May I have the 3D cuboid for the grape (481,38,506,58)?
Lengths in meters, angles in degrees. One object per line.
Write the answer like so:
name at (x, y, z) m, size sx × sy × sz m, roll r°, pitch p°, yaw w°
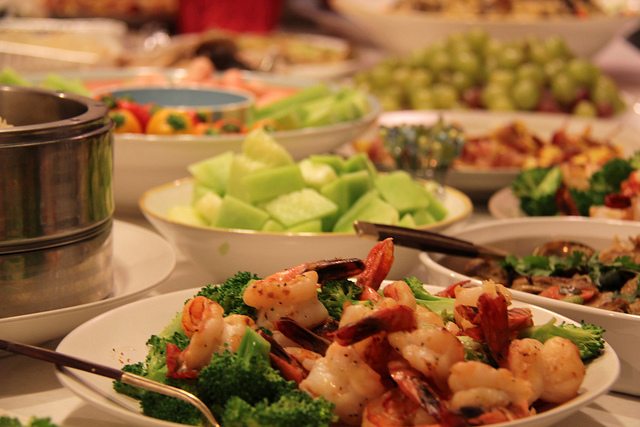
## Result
grape at (0.591, -0.568, 1.829) m, size 0.067 × 0.059 × 0.064 m, roll -3°, pitch 23°, yaw 0°

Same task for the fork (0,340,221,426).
fork at (-0.348, 0.294, 0.921) m, size 0.561 × 0.066 × 0.059 m, roll 9°, pitch 60°, yaw 25°

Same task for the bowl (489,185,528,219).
bowl at (0.633, -0.044, 1.866) m, size 0.211 × 0.090 × 0.116 m, roll -12°, pitch 14°, yaw -40°

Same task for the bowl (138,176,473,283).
bowl at (-0.174, -0.048, 1.645) m, size 1.076 × 0.262 × 0.660 m, roll -8°, pitch 15°, yaw -28°

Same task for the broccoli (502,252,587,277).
broccoli at (0.561, 0.130, 1.343) m, size 0.134 × 0.025 × 0.090 m, roll -6°, pitch 0°, yaw 2°

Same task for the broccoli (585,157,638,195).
broccoli at (0.972, -0.114, 1.802) m, size 0.059 × 0.133 × 0.125 m, roll 45°, pitch 55°, yaw 1°

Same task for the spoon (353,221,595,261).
spoon at (0.357, 0.079, 1.283) m, size 0.562 × 0.046 × 0.187 m, roll 10°, pitch 14°, yaw 41°

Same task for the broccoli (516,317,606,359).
broccoli at (0.446, 0.222, 1.001) m, size 0.139 × 0.053 × 0.102 m, roll 2°, pitch 11°, yaw 20°

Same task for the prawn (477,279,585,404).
prawn at (0.361, 0.235, 0.943) m, size 0.141 × 0.057 × 0.235 m, roll -36°, pitch 42°, yaw -30°

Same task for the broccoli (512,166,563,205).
broccoli at (0.742, -0.101, 1.813) m, size 0.138 × 0.068 × 0.134 m, roll -35°, pitch 46°, yaw -8°

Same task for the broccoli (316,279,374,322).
broccoli at (0.049, 0.142, 0.975) m, size 0.087 × 0.036 × 0.082 m, roll -10°, pitch 38°, yaw -12°

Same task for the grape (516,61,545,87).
grape at (0.734, -0.493, 1.862) m, size 0.083 × 0.045 × 0.081 m, roll 22°, pitch 43°, yaw 11°

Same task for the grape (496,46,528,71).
grape at (0.625, -0.520, 1.756) m, size 0.070 × 0.038 × 0.068 m, roll -32°, pitch 49°, yaw -19°

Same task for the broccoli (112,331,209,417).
broccoli at (-0.266, 0.280, 0.917) m, size 0.120 × 0.146 × 0.065 m, roll 1°, pitch 36°, yaw 17°

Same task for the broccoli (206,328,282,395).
broccoli at (-0.113, 0.236, 0.859) m, size 0.087 × 0.100 × 0.058 m, roll 18°, pitch -22°, yaw -17°

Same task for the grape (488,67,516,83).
grape at (0.635, -0.481, 1.850) m, size 0.047 × 0.028 × 0.052 m, roll -5°, pitch 6°, yaw -1°

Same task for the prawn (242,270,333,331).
prawn at (-0.062, 0.124, 0.953) m, size 0.137 × 0.091 × 0.115 m, roll -3°, pitch 10°, yaw -14°

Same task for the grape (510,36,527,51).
grape at (0.647, -0.557, 1.738) m, size 0.051 × 0.037 × 0.029 m, roll 8°, pitch 27°, yaw 17°

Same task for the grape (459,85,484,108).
grape at (0.744, -0.572, 2.602) m, size 0.096 × 0.067 × 0.102 m, roll -1°, pitch -4°, yaw -2°

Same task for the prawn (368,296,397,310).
prawn at (0.110, 0.154, 0.928) m, size 0.028 × 0.009 × 0.024 m, roll -1°, pitch 3°, yaw -4°

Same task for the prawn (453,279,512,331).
prawn at (0.296, 0.154, 0.967) m, size 0.097 × 0.061 × 0.097 m, roll -2°, pitch 5°, yaw -3°

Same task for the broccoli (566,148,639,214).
broccoli at (0.956, -0.106, 1.810) m, size 0.241 × 0.072 × 0.174 m, roll -33°, pitch -3°, yaw -16°

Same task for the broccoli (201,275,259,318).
broccoli at (-0.164, 0.155, 1.015) m, size 0.089 × 0.041 × 0.083 m, roll -2°, pitch 27°, yaw 2°

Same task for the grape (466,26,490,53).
grape at (0.576, -0.660, 2.016) m, size 0.067 × 0.086 × 0.107 m, roll -6°, pitch 30°, yaw 0°

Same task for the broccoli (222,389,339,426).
broccoli at (-0.068, 0.297, 0.816) m, size 0.108 × 0.032 × 0.074 m, roll -2°, pitch 17°, yaw -2°

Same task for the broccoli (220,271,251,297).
broccoli at (-0.158, 0.143, 1.072) m, size 0.056 × 0.067 × 0.028 m, roll -3°, pitch 61°, yaw -24°

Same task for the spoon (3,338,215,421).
spoon at (-0.355, 0.290, 0.930) m, size 0.479 × 0.052 × 0.049 m, roll 12°, pitch 60°, yaw 22°

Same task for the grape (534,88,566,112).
grape at (1.011, -0.499, 2.356) m, size 0.088 × 0.093 × 0.062 m, roll -4°, pitch 27°, yaw 5°

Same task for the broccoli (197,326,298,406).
broccoli at (-0.119, 0.259, 0.850) m, size 0.104 × 0.074 × 0.131 m, roll 12°, pitch 37°, yaw -9°

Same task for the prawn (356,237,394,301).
prawn at (0.108, 0.107, 1.072) m, size 0.063 × 0.052 × 0.204 m, roll 9°, pitch 34°, yaw 20°
